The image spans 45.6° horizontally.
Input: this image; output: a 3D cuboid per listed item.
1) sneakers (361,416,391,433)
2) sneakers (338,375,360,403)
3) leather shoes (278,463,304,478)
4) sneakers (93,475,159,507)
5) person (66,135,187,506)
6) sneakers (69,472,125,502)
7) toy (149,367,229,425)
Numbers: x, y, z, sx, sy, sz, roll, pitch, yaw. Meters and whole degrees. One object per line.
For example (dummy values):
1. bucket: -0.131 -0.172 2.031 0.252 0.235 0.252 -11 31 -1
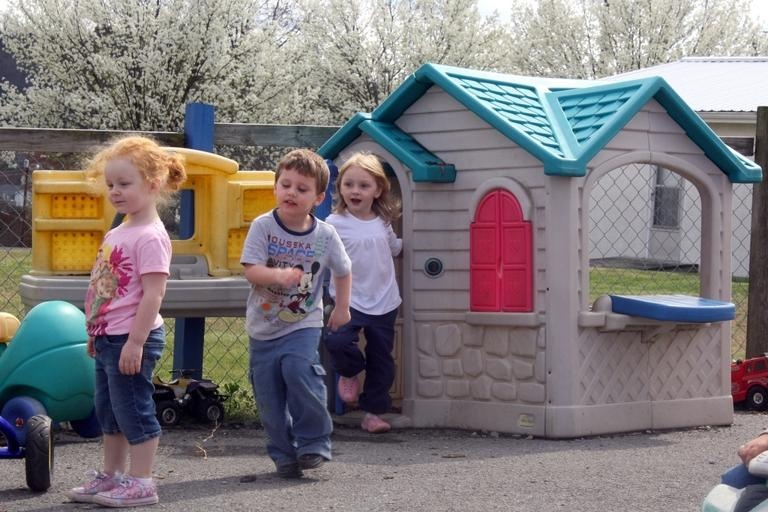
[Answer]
1. sneakers: -0.054 1.381 7.565 0.243 0.139 0.181 0 8 -2
2. sneakers: -0.286 1.114 7.688 0.118 0.127 0.334 0 8 -1
3. leather shoes: -0.640 1.508 6.391 0.195 0.082 0.076 -2 -3 11
4. sneakers: -1.649 1.529 5.928 0.392 0.164 0.173 2 -6 -11
5. person: -1.659 0.406 5.984 0.708 2.341 0.643 -1 8 -11
6. sneakers: -1.843 1.505 5.913 0.437 0.175 0.156 -1 -5 3
7. toy: -1.603 1.197 7.643 0.605 0.346 0.318 -3 4 -28
